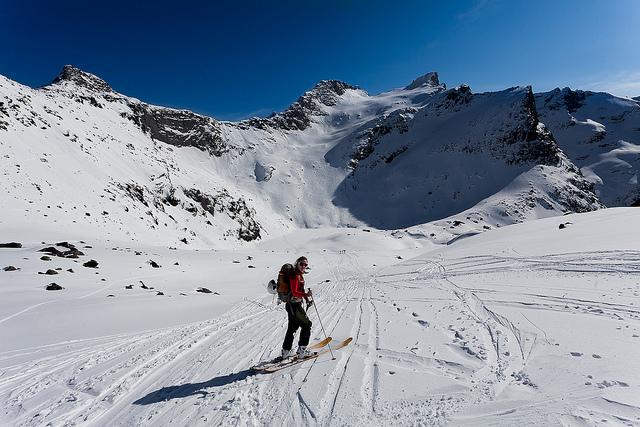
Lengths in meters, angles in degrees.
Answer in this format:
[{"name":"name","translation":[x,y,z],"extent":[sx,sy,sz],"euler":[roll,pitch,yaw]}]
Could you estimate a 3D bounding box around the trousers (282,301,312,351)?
[{"name":"trousers","translation":[-1.245,6.089,23.496],"extent":[1.886,2.780,1.085],"euler":[-12,-19,36]}]
